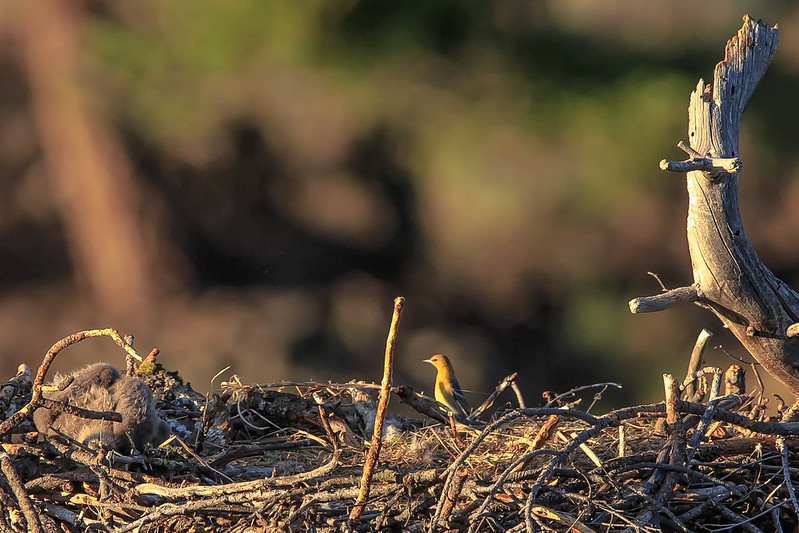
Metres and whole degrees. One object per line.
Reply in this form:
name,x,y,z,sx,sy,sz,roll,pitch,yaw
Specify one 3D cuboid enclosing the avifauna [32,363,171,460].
avifauna,-2.143,1.136,12.211,0.789,0.594,0.525,26,-24,-8
